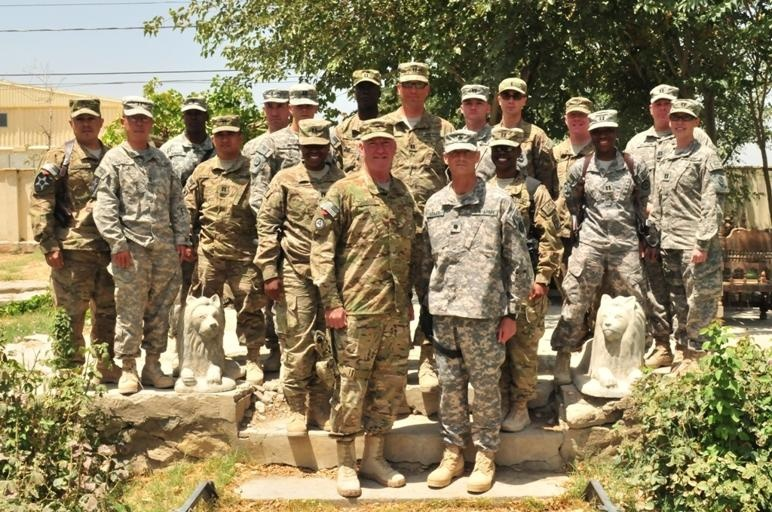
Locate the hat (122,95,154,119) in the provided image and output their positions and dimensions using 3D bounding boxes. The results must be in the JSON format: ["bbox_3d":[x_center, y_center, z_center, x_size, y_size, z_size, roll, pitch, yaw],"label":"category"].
[{"bbox_3d":[-2.964,-1.780,10.826,0.339,0.182,0.287,-4,2,-16],"label":"hat"}]

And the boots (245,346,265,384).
[{"bbox_3d":[-1.690,1.387,11.484,0.252,0.433,0.682,-1,10,-8],"label":"boots"}]

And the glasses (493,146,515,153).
[{"bbox_3d":[1.354,-1.232,10.472,0.122,0.036,0.132,-1,-16,15],"label":"glasses"}]

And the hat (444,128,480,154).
[{"bbox_3d":[0.832,-1.278,10.081,0.362,0.273,0.223,-4,2,-4],"label":"hat"}]

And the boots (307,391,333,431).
[{"bbox_3d":[-0.733,1.842,10.787,0.234,0.439,0.534,-3,6,-39],"label":"boots"}]

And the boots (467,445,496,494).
[{"bbox_3d":[1.086,2.418,10.295,0.269,0.332,0.780,1,7,16],"label":"boots"}]

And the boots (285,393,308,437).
[{"bbox_3d":[-1.068,1.873,10.785,0.271,0.442,0.701,-1,4,-4],"label":"boots"}]

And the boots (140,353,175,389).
[{"bbox_3d":[-2.848,1.405,11.064,0.464,0.389,0.175,22,-9,-35],"label":"boots"}]

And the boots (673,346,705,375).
[{"bbox_3d":[3.701,1.290,11.095,0.371,0.280,0.438,-3,2,22],"label":"boots"}]

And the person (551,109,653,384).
[{"bbox_3d":[2.613,-0.115,11.082,1.296,3.299,0.608,-4,3,8],"label":"person"}]

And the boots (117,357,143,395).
[{"bbox_3d":[-3.158,1.426,10.953,0.232,0.377,0.593,-3,9,-22],"label":"boots"}]

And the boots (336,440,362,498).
[{"bbox_3d":[-0.437,2.380,10.281,0.303,0.580,0.642,-1,13,-12],"label":"boots"}]

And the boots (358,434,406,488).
[{"bbox_3d":[-0.021,2.360,10.376,0.634,0.511,0.283,8,4,36],"label":"boots"}]

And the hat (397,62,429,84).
[{"bbox_3d":[0.328,-2.199,10.833,0.314,0.292,0.324,-3,2,20],"label":"hat"}]

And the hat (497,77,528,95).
[{"bbox_3d":[1.586,-2.151,11.342,0.343,0.202,0.440,1,-7,10],"label":"hat"}]

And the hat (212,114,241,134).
[{"bbox_3d":[-2.029,-1.667,11.475,0.341,0.229,0.234,-4,2,-12],"label":"hat"}]

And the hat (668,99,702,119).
[{"bbox_3d":[3.699,-1.825,11.190,0.377,0.269,0.366,-3,2,14],"label":"hat"}]

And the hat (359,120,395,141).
[{"bbox_3d":[-0.116,-1.398,10.061,0.374,0.245,0.206,-3,2,6],"label":"hat"}]

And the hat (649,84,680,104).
[{"bbox_3d":[3.650,-2.109,11.809,0.348,0.145,0.446,0,3,21],"label":"hat"}]

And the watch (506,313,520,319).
[{"bbox_3d":[1.426,0.678,10.144,0.108,0.088,0.107,-2,-2,34],"label":"watch"}]
